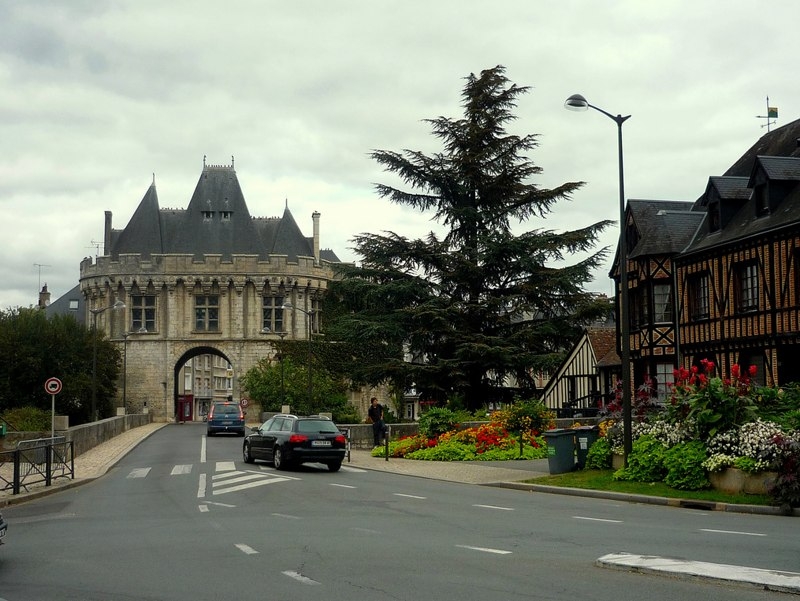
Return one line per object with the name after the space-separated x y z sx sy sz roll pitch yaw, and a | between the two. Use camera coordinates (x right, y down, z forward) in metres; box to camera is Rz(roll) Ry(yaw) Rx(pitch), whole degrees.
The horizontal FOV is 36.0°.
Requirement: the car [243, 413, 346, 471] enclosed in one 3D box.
-3.638 4.490 39.012 1.794 1.745 5.147 6 -10 -36 | car

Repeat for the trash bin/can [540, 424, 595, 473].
4.996 4.267 35.484 1.359 1.231 1.485 -1 -3 -43 | trash bin/can
